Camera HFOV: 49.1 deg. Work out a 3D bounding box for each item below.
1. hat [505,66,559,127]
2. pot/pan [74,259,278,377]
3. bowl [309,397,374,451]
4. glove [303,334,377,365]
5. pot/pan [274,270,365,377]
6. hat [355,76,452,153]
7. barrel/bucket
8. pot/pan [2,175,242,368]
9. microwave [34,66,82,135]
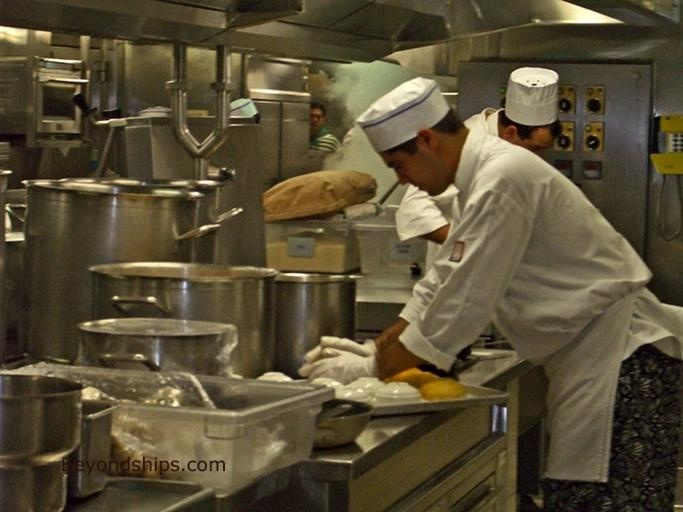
[{"bbox_3d":[0.789,-0.654,3.098,0.264,0.199,0.272,0,17,-4],"label":"hat"},{"bbox_3d":[-0.407,0.108,1.940,0.359,0.267,0.377,1,0,18],"label":"pot/pan"},{"bbox_3d":[-0.002,0.334,1.505,0.109,0.038,0.109,-3,4,0],"label":"bowl"},{"bbox_3d":[0.006,0.241,1.984,0.212,0.081,0.075,-5,15,28],"label":"glove"},{"bbox_3d":[-0.047,0.195,2.145,0.276,0.277,0.267,2,-5,-5],"label":"pot/pan"},{"bbox_3d":[0.179,-0.381,1.965,0.217,0.109,0.204,-33,16,-1],"label":"hat"},{"bbox_3d":[-0.528,0.032,2.142,0.781,0.506,0.584,1,-3,8],"label":"barrel/bucket"},{"bbox_3d":[-0.611,0.038,2.278,0.583,0.465,0.504,3,0,9],"label":"pot/pan"},{"bbox_3d":[-1.757,-0.986,4.691,0.163,0.474,0.391,2,3,21],"label":"microwave"}]
